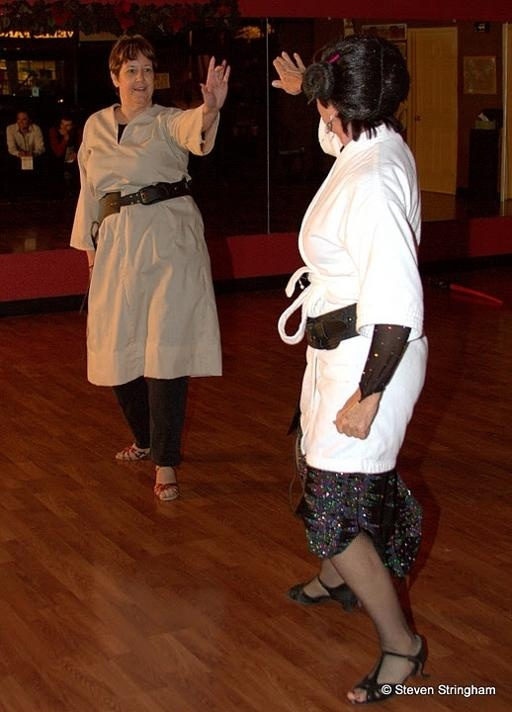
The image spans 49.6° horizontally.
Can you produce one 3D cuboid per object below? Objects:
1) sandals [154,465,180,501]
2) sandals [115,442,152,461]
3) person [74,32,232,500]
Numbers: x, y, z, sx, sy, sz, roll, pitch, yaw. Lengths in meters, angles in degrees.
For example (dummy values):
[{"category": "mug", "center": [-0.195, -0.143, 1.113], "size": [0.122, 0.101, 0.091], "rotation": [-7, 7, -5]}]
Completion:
[{"category": "sandals", "center": [-0.359, 0.514, 2.190], "size": [0.063, 0.065, 0.169], "rotation": [-1, 4, -7]}, {"category": "sandals", "center": [-0.568, 0.443, 2.591], "size": [0.151, 0.068, 0.075], "rotation": [1, 7, -8]}, {"category": "person", "center": [-0.381, -0.237, 2.196], "size": [0.757, 1.597, 0.357], "rotation": [6, 9, 43]}]
